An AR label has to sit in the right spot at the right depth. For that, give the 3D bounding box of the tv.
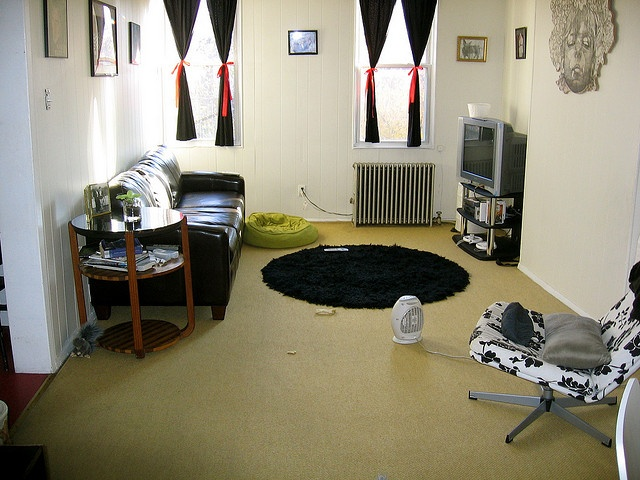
[{"bbox_3d":[2.028,-0.986,5.388,0.462,0.820,0.965,-5,17,-9],"label":"tv"}]

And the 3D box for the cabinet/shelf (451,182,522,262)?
[{"bbox_3d":[1.977,-0.238,5.489,0.523,0.731,0.911,-8,17,-11],"label":"cabinet/shelf"}]

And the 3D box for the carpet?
[{"bbox_3d":[0.462,0.351,4.669,2.054,0.143,1.404,-4,15,-13],"label":"carpet"}]

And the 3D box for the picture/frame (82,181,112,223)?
[{"bbox_3d":[-1.606,-0.261,3.340,0.088,0.250,0.267,3,11,12],"label":"picture/frame"}]

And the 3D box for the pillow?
[{"bbox_3d":[1.339,0.604,2.442,0.213,0.113,0.378,1,18,19],"label":"pillow"}]

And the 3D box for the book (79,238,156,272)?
[{"bbox_3d":[-1.390,0.120,3.219,0.329,0.117,0.276,1,18,-8],"label":"book"}]

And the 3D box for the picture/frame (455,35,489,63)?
[{"bbox_3d":[2.006,-2.519,6.096,0.278,0.277,0.020,0,9,-1],"label":"picture/frame"}]

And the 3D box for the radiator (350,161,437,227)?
[{"bbox_3d":[1.005,-0.613,6.343,1.086,0.848,0.168,-1,13,-2],"label":"radiator"}]

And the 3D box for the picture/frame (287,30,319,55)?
[{"bbox_3d":[-0.223,-2.590,6.050,0.252,0.250,0.020,-1,11,-5],"label":"picture/frame"}]

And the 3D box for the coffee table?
[{"bbox_3d":[-1.349,0.309,3.430,0.661,0.940,0.716,9,14,38],"label":"coffee table"}]
